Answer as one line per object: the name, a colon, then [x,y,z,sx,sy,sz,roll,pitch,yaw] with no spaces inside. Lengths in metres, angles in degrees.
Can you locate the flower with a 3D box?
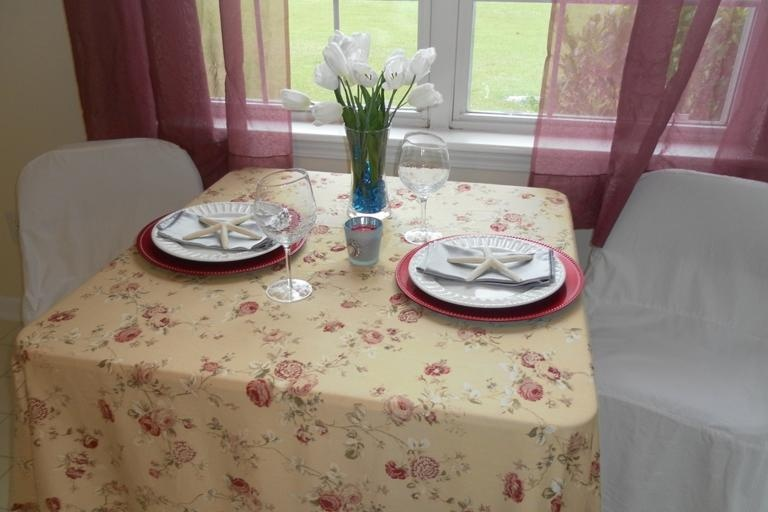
flower: [-0.089,-0.462,1.635,0.345,0.343,0.361,-1,0,26]

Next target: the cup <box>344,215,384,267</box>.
cup: [-0.050,-0.046,1.543,0.121,0.129,0.121,1,23,0]

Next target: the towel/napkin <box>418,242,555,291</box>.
towel/napkin: [0.260,0.025,1.410,0.245,0.042,0.140,7,33,12]

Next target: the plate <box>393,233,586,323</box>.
plate: [0.238,0.074,1.313,0.258,0.026,0.252,8,31,18]

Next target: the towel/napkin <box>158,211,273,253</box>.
towel/napkin: [-0.482,-0.060,1.556,0.214,0.035,0.151,8,30,2]
